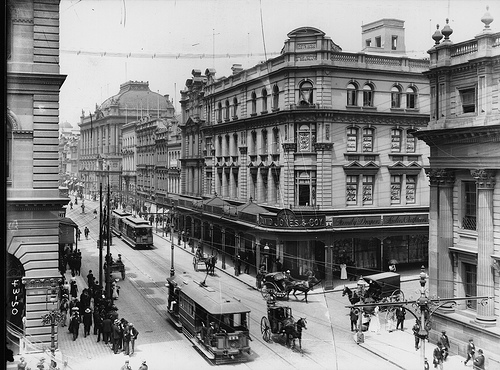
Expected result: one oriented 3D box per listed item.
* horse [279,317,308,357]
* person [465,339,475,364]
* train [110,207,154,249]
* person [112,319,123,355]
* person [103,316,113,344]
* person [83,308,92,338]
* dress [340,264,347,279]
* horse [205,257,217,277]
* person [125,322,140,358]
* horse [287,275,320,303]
[{"bbox_3d":[2.581,8.145,48.021,0.708,1.930,2.701,-10,14,-25],"label":"horse"},{"bbox_3d":[12.094,9.043,46.053,0.401,1.309,0.699,8,15,36],"label":"person"},{"bbox_3d":[-10.107,3.718,72.993,1.996,2.625,8.590,1,2,-18],"label":"train"},{"bbox_3d":[-7.549,8.590,47.857,0.493,2.016,0.417,-3,12,-13],"label":"person"},{"bbox_3d":[-8.152,8.323,48.291,0.516,1.687,0.703,-4,13,-14],"label":"person"},{"bbox_3d":[-9.545,8.138,49.561,0.482,1.618,1.168,-3,13,-10],"label":"person"},{"bbox_3d":[6.658,6.121,59.551,0.423,1.135,0.830,1,13,7],"label":"dress"},{"bbox_3d":[-2.852,5.903,61.707,0.693,1.445,2.278,-1,13,-3],"label":"horse"},{"bbox_3d":[-6.720,8.746,47.835,0.699,2.074,1.179,2,13,11],"label":"person"},{"bbox_3d":[3.444,6.795,55.178,1.624,1.644,2.549,5,14,25],"label":"horse"}]
